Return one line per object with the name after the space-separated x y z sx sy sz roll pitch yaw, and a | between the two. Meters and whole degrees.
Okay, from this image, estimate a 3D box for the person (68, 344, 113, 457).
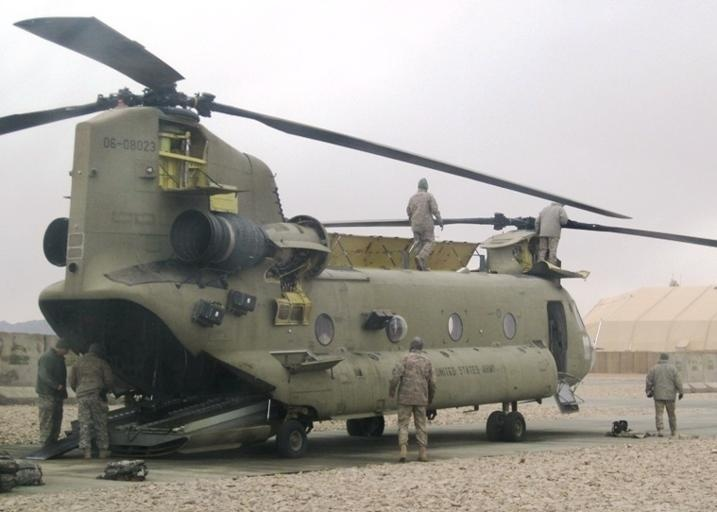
-5.002 2.718 17.928 0.861 2.181 0.517 4 -1 -5 | person

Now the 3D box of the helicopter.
-0.311 0.341 20.915 7.145 4.756 13.191 -2 -4 42 | helicopter

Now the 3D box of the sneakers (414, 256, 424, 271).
1.445 0.199 22.337 0.165 0.363 0.125 6 -36 -39 | sneakers

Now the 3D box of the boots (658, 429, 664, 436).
6.945 4.051 21.970 0.122 0.130 0.116 10 2 19 | boots

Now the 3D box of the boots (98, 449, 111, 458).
-4.708 3.658 17.834 0.198 0.170 0.353 4 -1 -10 | boots

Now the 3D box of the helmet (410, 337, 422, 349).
1.112 1.666 18.285 0.181 0.227 0.226 5 14 1 | helmet

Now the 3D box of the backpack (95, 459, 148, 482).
-3.751 3.462 15.464 0.540 0.214 0.389 2 -3 13 | backpack
